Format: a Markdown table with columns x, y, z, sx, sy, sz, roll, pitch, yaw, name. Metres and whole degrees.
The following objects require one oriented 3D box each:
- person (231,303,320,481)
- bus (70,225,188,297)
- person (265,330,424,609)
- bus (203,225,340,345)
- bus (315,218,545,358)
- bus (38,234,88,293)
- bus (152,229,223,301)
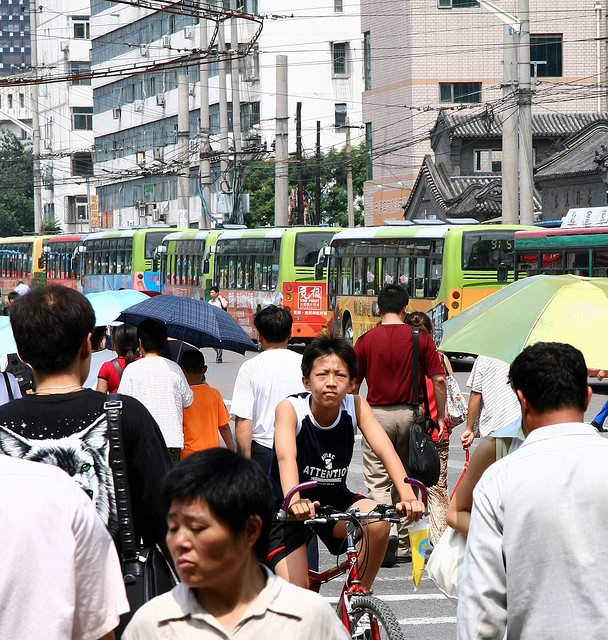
| x | y | z | sx | sy | sz | roll | pitch | yaw | name |
| --- | --- | --- | --- | --- | --- | --- | --- | --- | --- |
| -0.201 | 0.585 | 6.582 | 0.378 | 1.416 | 0.349 | -1 | 19 | -15 | person |
| -5.414 | -1.511 | 37.288 | 1.488 | 2.465 | 4.330 | 7 | -3 | -34 | bus |
| 0.089 | 0.671 | 4.657 | 0.441 | 1.228 | 0.719 | 0 | 0 | -13 | person |
| -0.989 | -0.870 | 28.241 | 1.386 | 2.674 | 4.608 | 1 | 3 | -30 | bus |
| 2.042 | -0.513 | 22.923 | 1.584 | 2.653 | 4.783 | 1 | 1 | -29 | bus |
| -7.755 | -1.838 | 41.041 | 1.109 | 2.153 | 3.295 | -11 | 9 | -37 | bus |
| -3.429 | -1.399 | 32.430 | 1.122 | 2.098 | 3.817 | 7 | 3 | 21 | bus |
